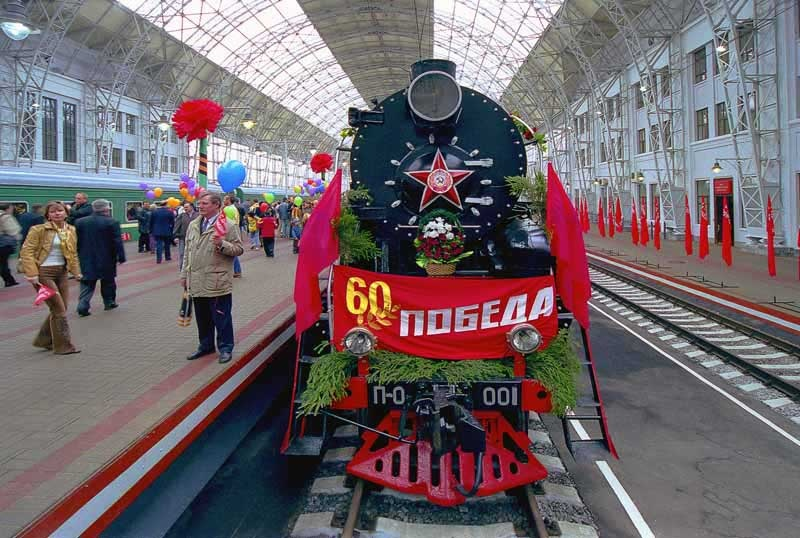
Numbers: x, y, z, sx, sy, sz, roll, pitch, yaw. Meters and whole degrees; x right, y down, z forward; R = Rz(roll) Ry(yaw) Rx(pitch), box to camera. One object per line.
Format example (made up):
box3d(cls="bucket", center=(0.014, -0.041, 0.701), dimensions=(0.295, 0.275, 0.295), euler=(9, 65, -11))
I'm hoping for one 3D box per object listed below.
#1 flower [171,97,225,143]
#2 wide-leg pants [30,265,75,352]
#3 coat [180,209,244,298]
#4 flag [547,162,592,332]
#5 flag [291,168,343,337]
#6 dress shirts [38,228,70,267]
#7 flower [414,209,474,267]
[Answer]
box3d(cls="flower", center=(-3.192, -2.397, 6.875), dimensions=(0.719, 0.447, 0.766), euler=(-13, 35, -2))
box3d(cls="wide-leg pants", center=(-5.306, 0.635, 6.679), dimensions=(0.553, 1.311, 0.927), euler=(-10, 13, -40))
box3d(cls="coat", center=(-2.641, -0.182, 6.108), dimensions=(0.877, 1.147, 0.530), euler=(1, 10, 16))
box3d(cls="flag", center=(1.835, -0.254, 4.830), dimensions=(0.450, 1.830, 0.348), euler=(1, 10, 19))
box3d(cls="flag", center=(-0.918, -0.165, 4.964), dimensions=(0.666, 1.849, 0.278), euler=(-7, 11, -26))
box3d(cls="dress shirts", center=(-5.319, -0.323, 6.837), dimensions=(0.416, 0.740, 0.529), euler=(7, -4, -39))
box3d(cls="flower", center=(0.477, -0.332, 5.369), dimensions=(0.561, 0.771, 0.284), euler=(1, -9, -2))
